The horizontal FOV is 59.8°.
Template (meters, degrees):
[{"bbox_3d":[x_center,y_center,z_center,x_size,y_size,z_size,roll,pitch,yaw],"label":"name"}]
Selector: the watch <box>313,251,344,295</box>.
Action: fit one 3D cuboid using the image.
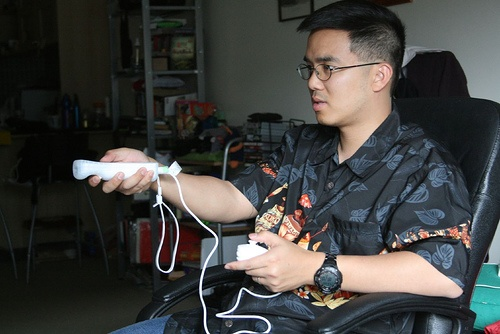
[{"bbox_3d":[0.232,0.353,1.400,0.076,0.115,0.117,0,2,4],"label":"watch"}]
